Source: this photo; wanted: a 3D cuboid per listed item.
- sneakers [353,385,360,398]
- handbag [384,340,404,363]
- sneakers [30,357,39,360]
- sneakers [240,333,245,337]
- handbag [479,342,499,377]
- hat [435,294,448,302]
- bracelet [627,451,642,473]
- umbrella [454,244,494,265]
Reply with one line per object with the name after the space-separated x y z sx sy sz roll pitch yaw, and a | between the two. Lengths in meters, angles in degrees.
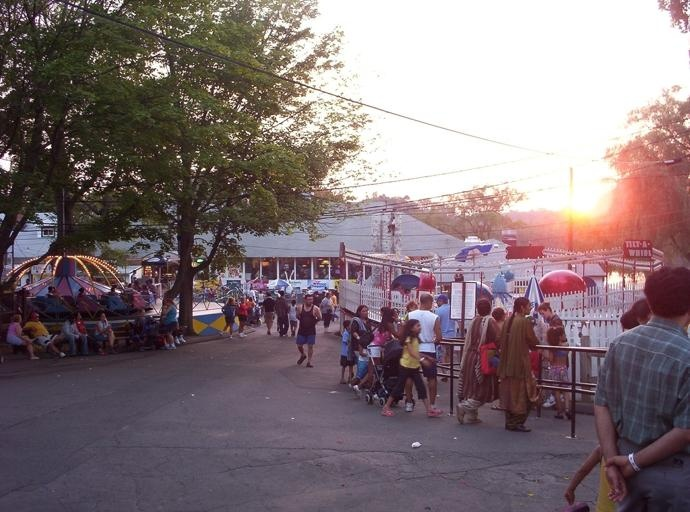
0.260 2.942 13.759 0.103 0.278 0.099 -12 14 5 | sneakers
0.964 1.894 12.836 0.268 0.414 0.422 4 -42 -5 | handbag
-10.013 3.256 20.538 0.206 0.098 0.403 1 -2 -29 | sneakers
-4.813 3.675 29.679 0.259 0.089 0.186 -5 -39 -1 | sneakers
2.420 1.737 10.645 0.311 0.642 0.453 5 -11 -22 | handbag
3.125 1.344 19.961 0.234 0.291 0.269 6 -4 -19 | hat
2.024 1.443 4.456 0.039 0.104 0.089 -24 -16 -3 | bracelet
6.706 -0.206 32.943 1.821 0.947 2.149 -1 -2 32 | umbrella
